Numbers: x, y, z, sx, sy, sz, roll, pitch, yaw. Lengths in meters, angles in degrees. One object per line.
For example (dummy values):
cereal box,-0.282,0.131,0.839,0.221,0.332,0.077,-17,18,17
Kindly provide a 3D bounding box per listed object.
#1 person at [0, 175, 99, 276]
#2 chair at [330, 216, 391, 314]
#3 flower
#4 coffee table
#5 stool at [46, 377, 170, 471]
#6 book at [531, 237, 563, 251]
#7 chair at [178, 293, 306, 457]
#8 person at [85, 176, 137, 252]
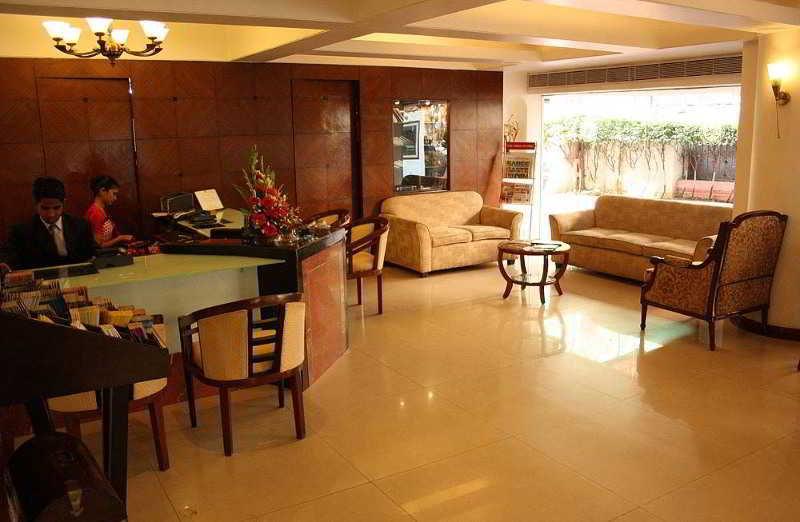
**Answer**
person,-3.769,-0.377,5.724,1.077,0.891,0.637,-19,34,-40
chair,-0.650,0.117,7.535,0.877,1.123,0.980,-6,5,-37
flower,-1.290,-0.695,5.516,0.706,0.941,0.512,-1,16,-3
coffee table,1.974,0.138,8.060,1.046,0.735,1.002,4,12,30
stool,-2.318,1.257,4.410,0.811,0.831,0.747,-6,17,-19
book,2.134,-0.236,7.858,0.476,0.038,0.701,3,15,9
chair,-1.399,1.008,4.715,1.042,1.324,0.885,-9,26,-32
person,-3.718,-0.593,7.005,0.730,0.960,0.703,14,10,31
